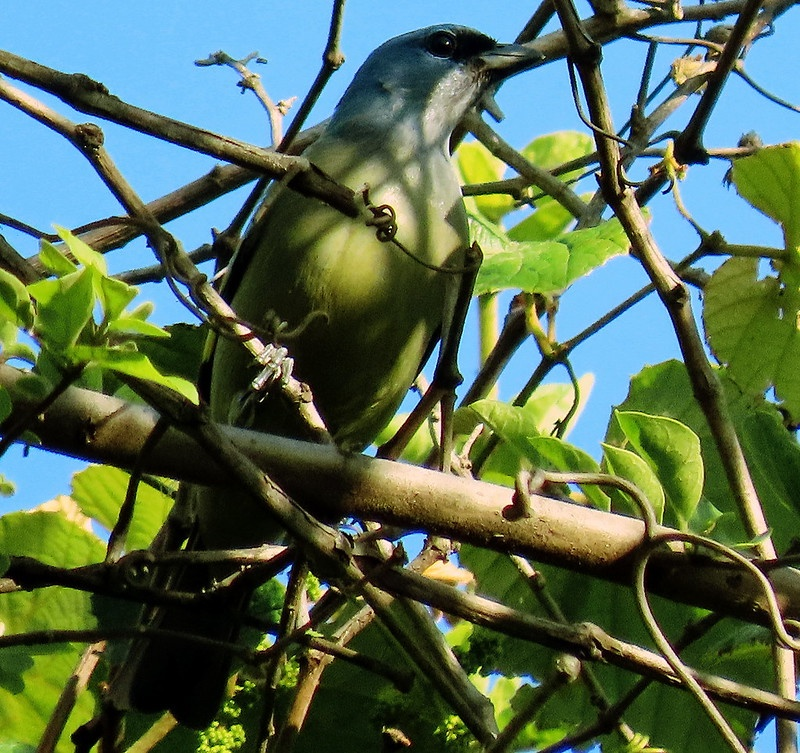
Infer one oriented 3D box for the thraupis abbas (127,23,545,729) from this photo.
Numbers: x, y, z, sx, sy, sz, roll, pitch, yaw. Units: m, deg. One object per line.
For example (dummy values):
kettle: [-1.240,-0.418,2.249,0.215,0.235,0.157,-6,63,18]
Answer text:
thraupis abbas: [-0.171,-0.136,3.371,0.345,0.783,1.203,17,-23,-21]
